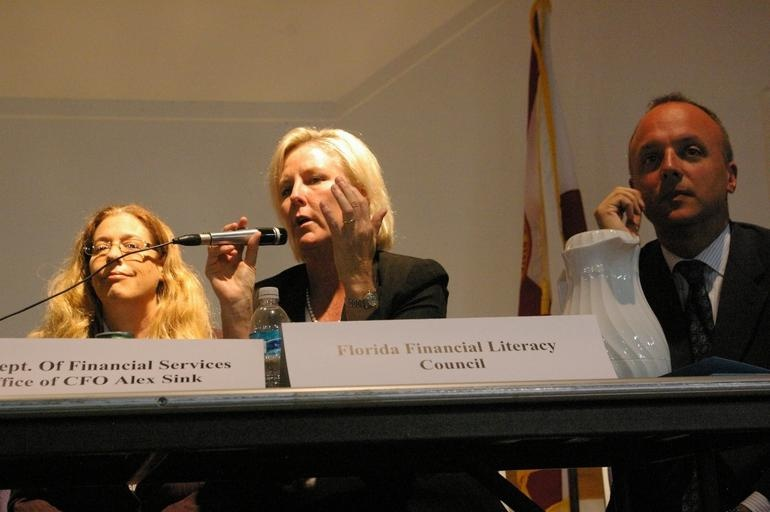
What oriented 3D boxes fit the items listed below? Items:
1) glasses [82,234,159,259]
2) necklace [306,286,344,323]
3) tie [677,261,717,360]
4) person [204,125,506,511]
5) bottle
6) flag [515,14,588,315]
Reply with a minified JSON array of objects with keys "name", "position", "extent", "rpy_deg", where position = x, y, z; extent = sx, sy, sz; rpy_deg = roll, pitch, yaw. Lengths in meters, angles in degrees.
[{"name":"glasses","position":[-0.904,-0.028,3.020],"extent":[0.261,0.047,0.088],"rpy_deg":[-4,-1,6]},{"name":"necklace","position":[-0.176,0.148,2.651],"extent":[0.078,0.100,0.027],"rpy_deg":[1,5,2]},{"name":"tie","position":[0.876,0.144,2.510],"extent":[0.078,0.287,0.071],"rpy_deg":[3,-30,8]},{"name":"person","position":[-0.167,0.090,2.515],"extent":[0.704,1.035,1.054],"rpy_deg":[-4,-1,-8]},{"name":"bottle","position":[-0.259,0.179,1.990],"extent":[0.087,0.213,0.461],"rpy_deg":[-4,-1,-6]},{"name":"flag","position":[0.543,-0.334,3.102],"extent":[0.211,1.097,0.191],"rpy_deg":[-3,-1,-44]}]
